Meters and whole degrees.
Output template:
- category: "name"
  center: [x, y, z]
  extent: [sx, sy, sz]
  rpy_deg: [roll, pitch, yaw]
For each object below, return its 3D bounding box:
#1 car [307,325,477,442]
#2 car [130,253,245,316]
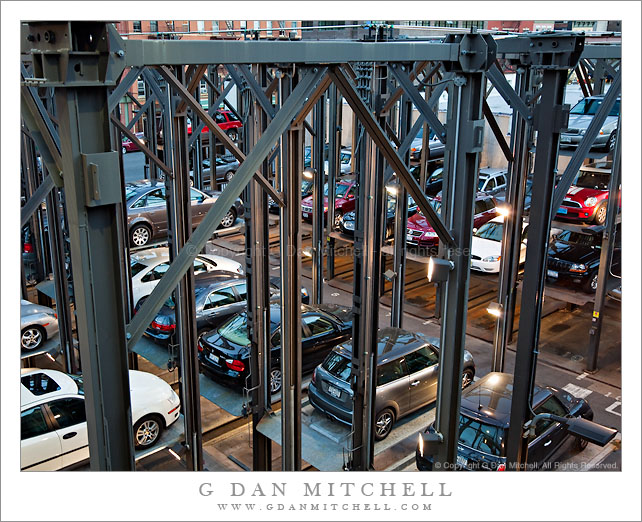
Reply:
- category: "car"
  center: [1.162, 1.629, 10.450]
  extent: [2.595, 1.170, 1.422]
  rpy_deg: [-26, 37, -30]
- category: "car"
  center: [-3.008, 0.396, 14.363]
  extent: [2.694, 0.985, 1.244]
  rpy_deg: [-16, 30, -27]
